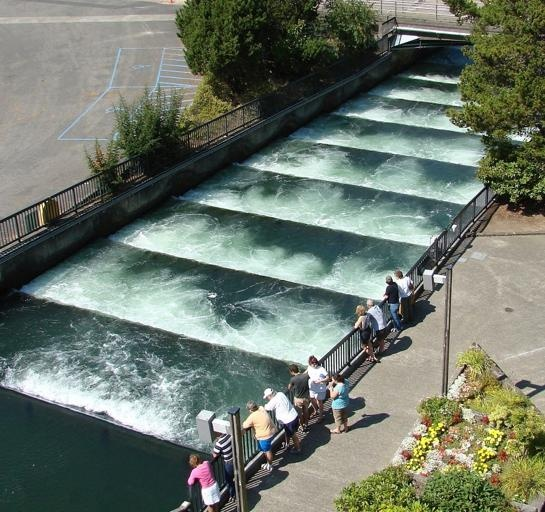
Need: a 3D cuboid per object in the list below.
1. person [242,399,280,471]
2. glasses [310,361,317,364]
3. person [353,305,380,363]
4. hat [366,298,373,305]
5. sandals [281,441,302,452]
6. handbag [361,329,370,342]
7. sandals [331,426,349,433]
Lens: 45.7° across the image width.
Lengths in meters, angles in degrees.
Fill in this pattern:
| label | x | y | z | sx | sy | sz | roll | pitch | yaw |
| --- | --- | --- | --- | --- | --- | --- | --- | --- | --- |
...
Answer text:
| label | x | y | z | sx | sy | sz | roll | pitch | yaw |
| --- | --- | --- | --- | --- | --- | --- | --- | --- | --- |
| person | -0.219 | 3.113 | 11.313 | 0.531 | 1.590 | 0.552 | 0 | 28 | 0 |
| glasses | 0.778 | 1.987 | 12.124 | 0.087 | 0.056 | 0.020 | 11 | 6 | -7 |
| person | 2.129 | 1.651 | 14.390 | 0.579 | 1.396 | 0.519 | 3 | 28 | 6 |
| hat | 2.128 | 0.979 | 13.963 | 0.147 | 0.147 | 0.138 | 7 | 45 | 8 |
| sandals | 0.373 | 3.560 | 12.032 | 0.410 | 0.130 | 0.119 | 12 | 33 | 16 |
| handbag | 2.060 | 1.734 | 14.253 | 0.218 | 0.336 | 0.117 | 1 | 28 | 1 |
| sandals | 1.326 | 3.316 | 12.411 | 0.400 | 0.104 | 0.112 | 1 | 25 | 2 |
